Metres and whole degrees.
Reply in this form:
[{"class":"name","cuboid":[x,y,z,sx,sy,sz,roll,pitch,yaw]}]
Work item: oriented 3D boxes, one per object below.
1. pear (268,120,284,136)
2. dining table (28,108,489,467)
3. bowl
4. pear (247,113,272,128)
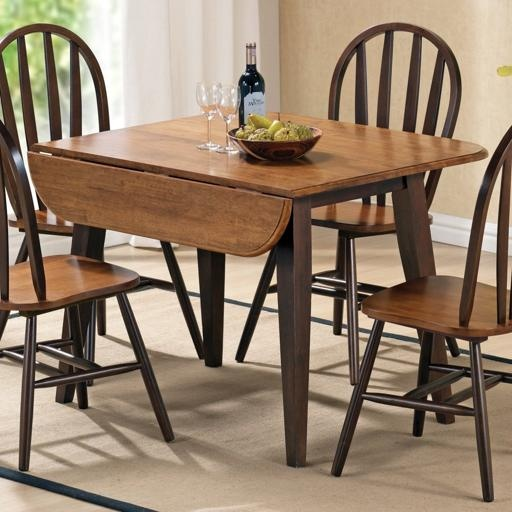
[{"class":"pear","cuboid":[0.045,-0.322,1.531,0.041,0.018,0.047,-4,48,9]},{"class":"dining table","cuboid":[0.119,0.123,1.936,1.058,0.840,1.312,-16,21,-43]},{"class":"bowl","cuboid":[0.051,-0.261,1.490,0.224,0.063,0.117,-1,9,-1]},{"class":"pear","cuboid":[0.011,-0.356,1.609,0.041,0.017,0.056,20,14,15]}]
